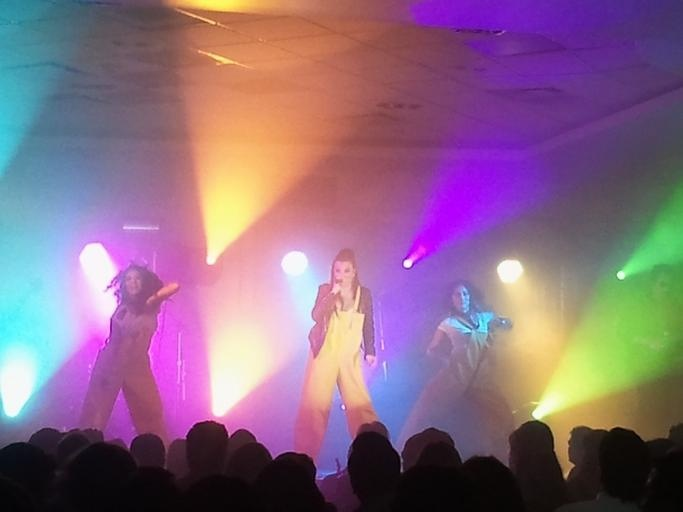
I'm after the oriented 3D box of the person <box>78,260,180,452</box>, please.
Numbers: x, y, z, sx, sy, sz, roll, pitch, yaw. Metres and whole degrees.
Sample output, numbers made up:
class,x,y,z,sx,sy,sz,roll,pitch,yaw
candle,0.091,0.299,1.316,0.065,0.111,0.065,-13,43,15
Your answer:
class,x,y,z,sx,sy,sz,roll,pitch,yaw
person,-2.579,1.341,7.801,1.118,2.496,0.796,4,9,-9
